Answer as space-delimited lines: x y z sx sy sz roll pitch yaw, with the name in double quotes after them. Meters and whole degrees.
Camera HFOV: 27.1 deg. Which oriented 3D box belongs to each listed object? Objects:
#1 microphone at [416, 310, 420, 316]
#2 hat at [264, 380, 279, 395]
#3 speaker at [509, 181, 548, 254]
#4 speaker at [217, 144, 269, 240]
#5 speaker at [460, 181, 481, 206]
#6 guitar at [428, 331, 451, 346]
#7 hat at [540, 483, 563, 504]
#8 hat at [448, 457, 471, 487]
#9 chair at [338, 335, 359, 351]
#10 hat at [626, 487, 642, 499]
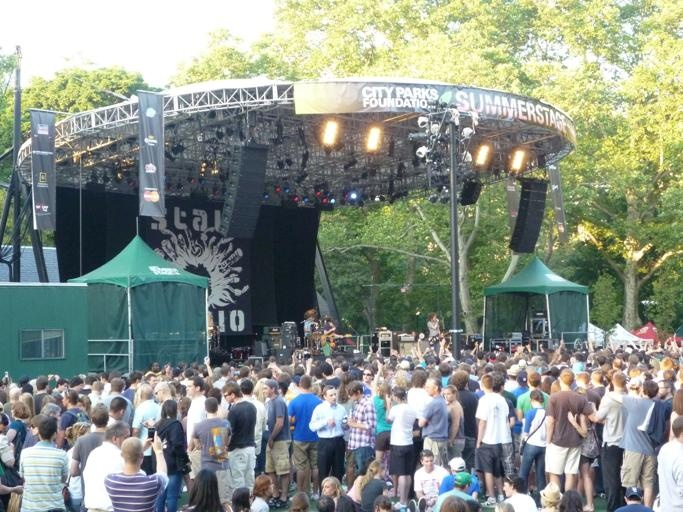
3.430 2.547 63.398 0.231 0.156 0.397 -1 1 1 "microphone"
-1.684 3.231 34.691 0.344 0.464 0.298 0 -5 3 "hat"
6.412 -1.360 48.497 0.988 2.749 0.814 -1 3 6 "speaker"
-2.956 -2.031 44.252 1.322 3.036 0.874 -2 2 -23 "speaker"
4.485 -2.224 49.512 0.442 0.782 0.424 24 39 4 "speaker"
3.358 2.768 49.215 0.504 0.688 0.290 13 -6 -15 "guitar"
4.716 5.345 31.799 0.490 0.485 0.297 -1 -3 14 "hat"
2.733 4.930 32.543 0.420 0.570 0.946 0 -4 1 "hat"
0.284 3.421 54.826 0.791 0.570 0.798 0 -2 7 "chair"
6.645 5.375 32.221 0.327 0.233 0.384 -1 -4 8 "hat"
